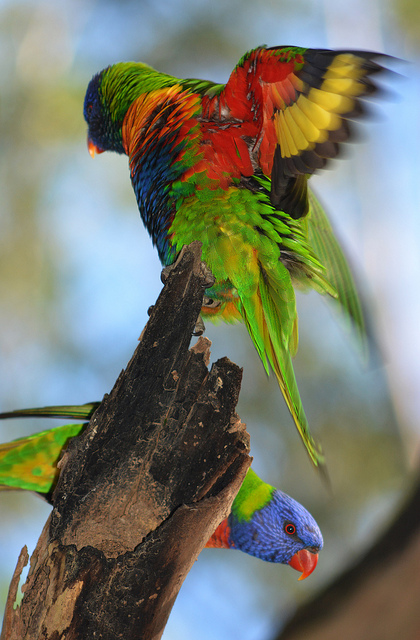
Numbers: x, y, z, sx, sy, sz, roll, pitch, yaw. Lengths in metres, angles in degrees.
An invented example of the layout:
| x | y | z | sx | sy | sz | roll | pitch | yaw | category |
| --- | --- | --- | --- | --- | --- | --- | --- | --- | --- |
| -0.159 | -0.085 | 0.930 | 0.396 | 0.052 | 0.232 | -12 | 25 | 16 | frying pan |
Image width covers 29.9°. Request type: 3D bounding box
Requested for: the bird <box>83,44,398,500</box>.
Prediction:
| x | y | z | sx | sy | sz | roll | pitch | yaw | category |
| --- | --- | --- | --- | --- | --- | --- | --- | --- | --- |
| 0.130 | -0.099 | 2.193 | 0.478 | 1.170 | 1.130 | -16 | -14 | 10 | bird |

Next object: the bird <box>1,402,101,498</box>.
| x | y | z | sx | sy | sz | roll | pitch | yaw | category |
| --- | --- | --- | --- | --- | --- | --- | --- | --- | --- |
| -0.455 | 0.350 | 2.240 | 0.301 | 0.267 | 0.170 | -3 | 12 | -2 | bird |
